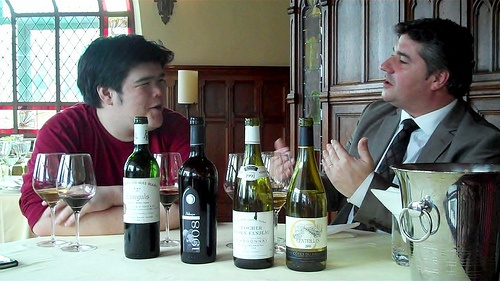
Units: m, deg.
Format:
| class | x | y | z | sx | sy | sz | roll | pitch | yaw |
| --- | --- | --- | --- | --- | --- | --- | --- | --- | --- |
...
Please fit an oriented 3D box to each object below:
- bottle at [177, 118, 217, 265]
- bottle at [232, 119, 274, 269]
| class | x | y | z | sx | sy | sz | roll | pitch | yaw |
| --- | --- | --- | --- | --- | --- | --- | --- | --- | --- |
| bottle | -0.211 | 0.201 | 1.613 | 0.154 | 0.588 | 0.124 | -2 | 13 | -8 |
| bottle | 0.016 | 0.199 | 1.617 | 0.166 | 0.596 | 0.222 | 0 | 13 | 3 |
